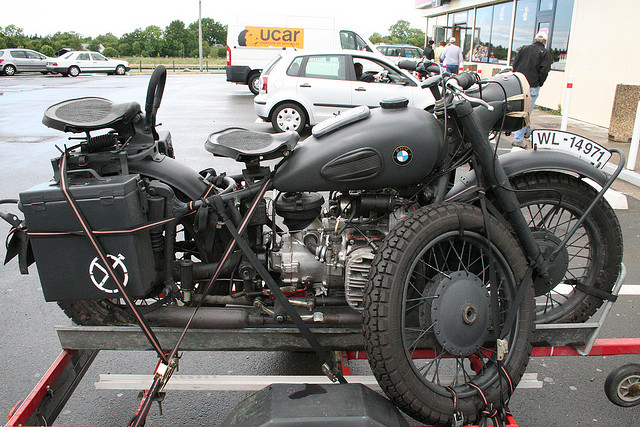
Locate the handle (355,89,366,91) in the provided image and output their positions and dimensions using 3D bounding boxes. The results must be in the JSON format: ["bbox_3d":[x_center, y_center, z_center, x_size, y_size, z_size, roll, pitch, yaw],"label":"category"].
[{"bbox_3d":[0.861,-2.569,10.681,0.196,0.028,0.018,3,21,9],"label":"handle"}]

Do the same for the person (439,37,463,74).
[{"bbox_3d":[4.352,-5.007,16.939,0.735,1.570,0.467,2,37,14],"label":"person"}]

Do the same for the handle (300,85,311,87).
[{"bbox_3d":[-0.315,-2.714,10.921,0.199,0.039,0.023,3,21,8],"label":"handle"}]

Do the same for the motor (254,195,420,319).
[{"bbox_3d":[0.115,0.281,3.666,1.045,0.569,0.799,0,30,0],"label":"motor"}]

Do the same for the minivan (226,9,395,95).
[{"bbox_3d":[-1.168,-5.285,16.976,4.475,2.515,0.984,8,22,21],"label":"minivan"}]

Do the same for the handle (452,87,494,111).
[{"bbox_3d":[1.053,-0.784,3.532,0.423,0.059,0.060,29,-1,45],"label":"handle"}]

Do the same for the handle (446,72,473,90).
[{"bbox_3d":[0.990,-0.945,3.671,0.174,0.100,0.102,-9,27,-30],"label":"handle"}]

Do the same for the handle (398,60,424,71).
[{"bbox_3d":[0.648,-1.050,3.631,0.141,0.064,0.165,2,24,5],"label":"handle"}]
